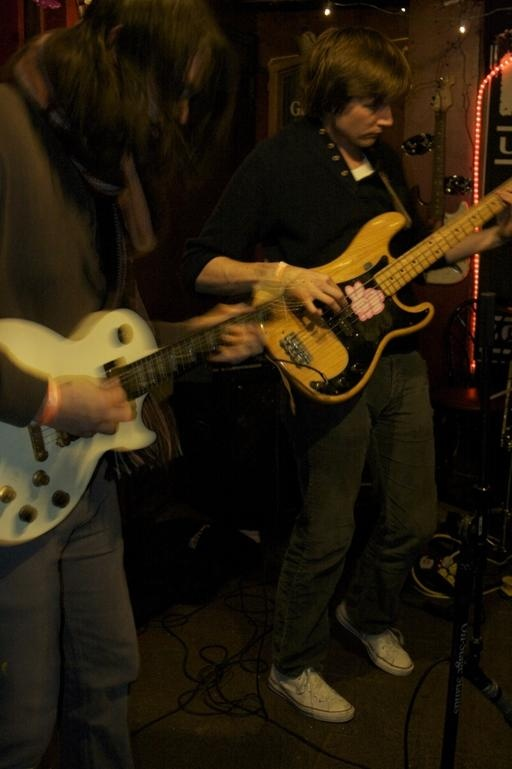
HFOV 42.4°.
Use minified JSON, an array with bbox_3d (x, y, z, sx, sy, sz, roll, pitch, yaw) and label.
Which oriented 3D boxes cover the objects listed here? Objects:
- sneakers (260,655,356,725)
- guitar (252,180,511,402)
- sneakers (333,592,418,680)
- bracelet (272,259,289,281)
[{"bbox_3d":[0.114,0.677,1.493,0.201,0.076,0.077,8,10,28],"label":"sneakers"},{"bbox_3d":[0.260,-0.187,1.345,0.567,0.436,0.080,-6,10,-19],"label":"guitar"},{"bbox_3d":[0.300,0.626,1.629,0.222,0.084,0.096,34,22,23],"label":"sneakers"},{"bbox_3d":[0.049,-0.219,1.290,0.027,0.035,0.027,-1,10,8],"label":"bracelet"}]
